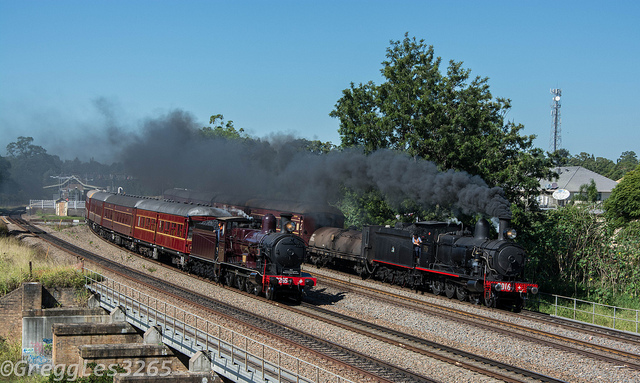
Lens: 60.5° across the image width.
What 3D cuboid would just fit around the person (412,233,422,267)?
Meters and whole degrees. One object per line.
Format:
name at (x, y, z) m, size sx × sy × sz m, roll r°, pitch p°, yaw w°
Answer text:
person at (8.019, 4.735, 44.707) m, size 0.282 × 2.654 × 1.007 m, roll -10°, pitch 18°, yaw -38°

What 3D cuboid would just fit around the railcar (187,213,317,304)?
railcar at (-6.309, 4.936, 45.865) m, size 5.430 × 6.378 × 15.969 m, roll 6°, pitch -2°, yaw -36°
